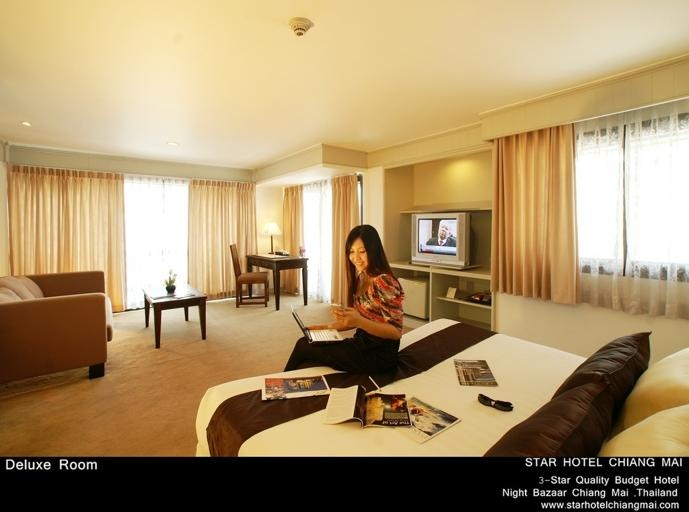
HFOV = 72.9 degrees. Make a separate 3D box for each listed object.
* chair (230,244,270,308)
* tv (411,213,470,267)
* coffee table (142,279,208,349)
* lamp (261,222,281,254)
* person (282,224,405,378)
[{"bbox_3d":[-1.458,0.276,7.279,0.586,0.921,0.558,-1,7,2],"label":"chair"},{"bbox_3d":[1.228,-0.198,5.694,0.744,0.634,0.389,6,5,44],"label":"tv"},{"bbox_3d":[-1.924,0.467,5.402,0.575,0.498,1.010,-3,5,-29],"label":"coffee table"},{"bbox_3d":[-1.276,-0.333,8.164,0.342,0.558,0.748,-3,11,-10],"label":"lamp"},{"bbox_3d":[-0.026,0.387,3.974,1.105,1.630,0.738,3,-2,8],"label":"person"}]
